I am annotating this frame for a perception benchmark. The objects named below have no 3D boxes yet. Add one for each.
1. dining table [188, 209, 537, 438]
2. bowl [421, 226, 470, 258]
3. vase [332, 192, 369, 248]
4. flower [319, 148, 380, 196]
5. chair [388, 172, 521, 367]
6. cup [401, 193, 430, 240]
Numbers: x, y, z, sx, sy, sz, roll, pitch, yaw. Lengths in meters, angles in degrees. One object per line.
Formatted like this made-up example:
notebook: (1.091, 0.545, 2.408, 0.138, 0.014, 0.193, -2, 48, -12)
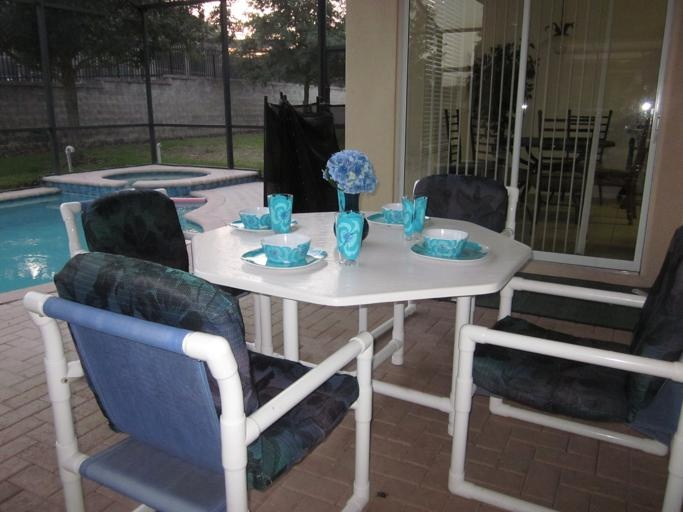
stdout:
dining table: (0.018, 0.156, 2.023, 1.105, 0.650, 1.134, 13, 24, 34)
bowl: (0.394, -0.052, 1.966, 0.130, 0.067, 0.133, -1, 14, 0)
vase: (0.037, -0.148, 2.064, 0.168, 0.276, 0.156, -4, 17, -7)
flower: (0.037, -0.309, 2.036, 0.192, 0.135, 0.207, 6, 25, 6)
chair: (0.680, -0.035, 3.292, 0.896, 1.390, 0.896, 8, 16, 30)
cup: (0.308, -0.161, 2.158, 0.156, 0.254, 0.158, 0, 11, 0)
